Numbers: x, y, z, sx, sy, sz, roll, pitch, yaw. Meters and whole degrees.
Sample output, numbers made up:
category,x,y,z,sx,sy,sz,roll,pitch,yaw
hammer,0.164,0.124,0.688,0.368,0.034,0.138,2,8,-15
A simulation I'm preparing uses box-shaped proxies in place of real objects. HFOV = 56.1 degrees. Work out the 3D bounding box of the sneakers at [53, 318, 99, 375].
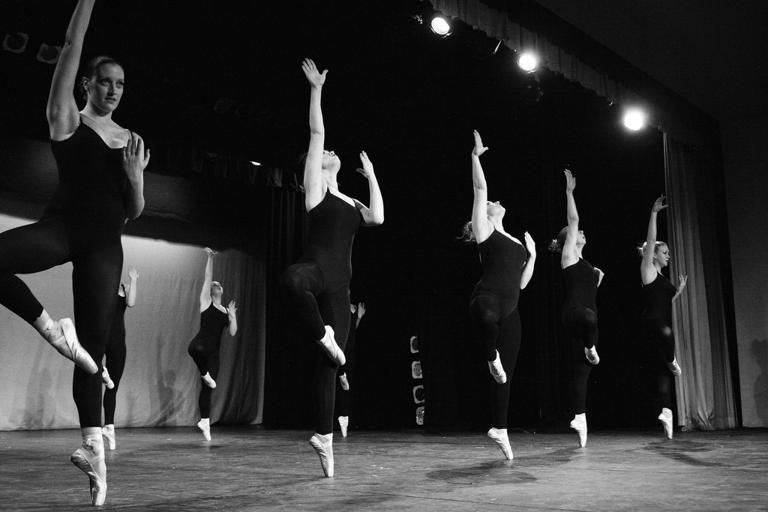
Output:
category,x,y,z,sx,sy,sz,roll,pitch,yaw
sneakers,-1.887,0.558,4.488,0.129,0.420,0.168,-36,22,-11

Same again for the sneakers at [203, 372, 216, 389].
category,x,y,z,sx,sy,sz,roll,pitch,yaw
sneakers,-1.996,1.403,8.132,0.183,0.101,0.078,37,-11,13

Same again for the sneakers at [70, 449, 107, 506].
category,x,y,z,sx,sy,sz,roll,pitch,yaw
sneakers,-1.850,1.371,4.570,0.219,0.360,0.192,4,9,40

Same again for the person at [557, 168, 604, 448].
category,x,y,z,sx,sy,sz,roll,pitch,yaw
person,1.964,0.473,7.206,0.438,2.774,0.727,-2,-13,14

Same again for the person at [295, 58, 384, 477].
category,x,y,z,sx,sy,sz,roll,pitch,yaw
person,-0.403,0.021,5.428,0.425,3.170,0.772,-9,-16,37

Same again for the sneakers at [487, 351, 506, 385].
category,x,y,z,sx,sy,sz,roll,pitch,yaw
sneakers,0.953,0.962,6.081,0.108,0.278,0.166,-15,4,-10

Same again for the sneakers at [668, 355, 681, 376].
category,x,y,z,sx,sy,sz,roll,pitch,yaw
sneakers,3.240,1.231,8.066,0.112,0.162,0.283,-4,-14,20

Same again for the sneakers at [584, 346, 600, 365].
category,x,y,z,sx,sy,sz,roll,pitch,yaw
sneakers,2.032,0.977,7.090,0.144,0.235,0.236,-3,7,11

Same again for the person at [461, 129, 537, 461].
category,x,y,z,sx,sy,sz,roll,pitch,yaw
person,1.044,0.313,6.384,0.656,2.876,0.977,0,-13,6
